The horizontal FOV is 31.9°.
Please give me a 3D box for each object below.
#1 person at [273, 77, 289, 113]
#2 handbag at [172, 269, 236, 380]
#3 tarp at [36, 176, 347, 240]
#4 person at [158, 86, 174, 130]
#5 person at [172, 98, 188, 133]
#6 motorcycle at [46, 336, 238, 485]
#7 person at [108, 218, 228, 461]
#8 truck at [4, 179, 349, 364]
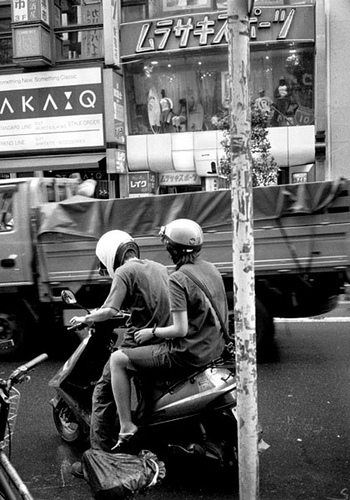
[{"bbox_3d":[3.163,-4.649,18.331,0.437,1.091,0.316,-1,4,11],"label":"person"},{"bbox_3d":[0.148,0.602,3.618,0.321,0.744,0.226,16,-12,-30],"label":"handbag"},{"bbox_3d":[0.057,-0.414,6.367,2.036,0.644,1.395,-1,1,7],"label":"tarp"},{"bbox_3d":[-0.306,-4.191,19.385,0.469,1.472,0.487,-22,38,-31],"label":"person"},{"bbox_3d":[0.133,-4.184,19.241,0.334,0.554,0.980,1,45,3],"label":"person"},{"bbox_3d":[-0.251,0.860,3.860,1.382,0.922,0.487,0,10,23],"label":"motorcycle"},{"bbox_3d":[-0.046,0.503,3.611,0.739,1.350,0.424,-2,4,-6],"label":"person"},{"bbox_3d":[-0.059,-0.040,7.210,3.460,2.120,1.960,1,2,7],"label":"truck"}]
